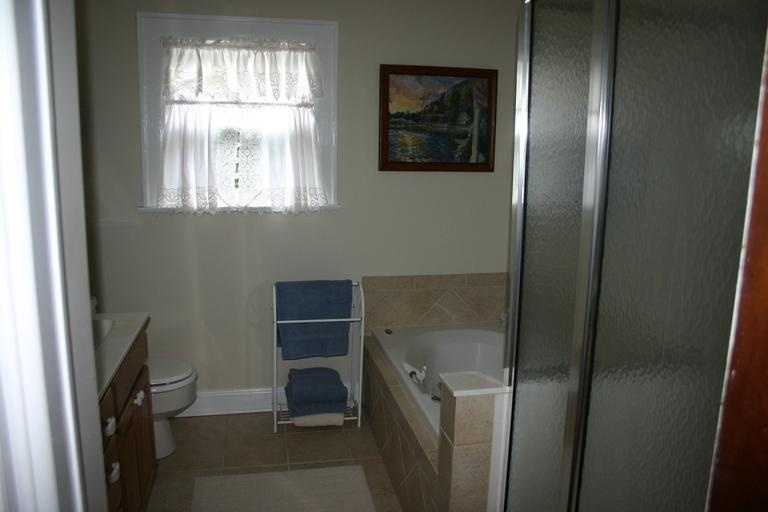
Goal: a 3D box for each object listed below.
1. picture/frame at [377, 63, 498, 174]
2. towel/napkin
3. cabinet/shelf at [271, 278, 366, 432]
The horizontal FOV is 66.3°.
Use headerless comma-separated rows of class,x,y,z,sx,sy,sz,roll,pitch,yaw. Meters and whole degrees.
picture/frame,0.288,-0.854,3.539,0.649,0.585,0.053,0,12,-7
towel/napkin,-0.400,0.566,3.476,0.556,0.864,0.482,-2,13,-9
cabinet/shelf,-0.394,0.554,3.473,0.524,0.893,0.358,-1,5,-9
